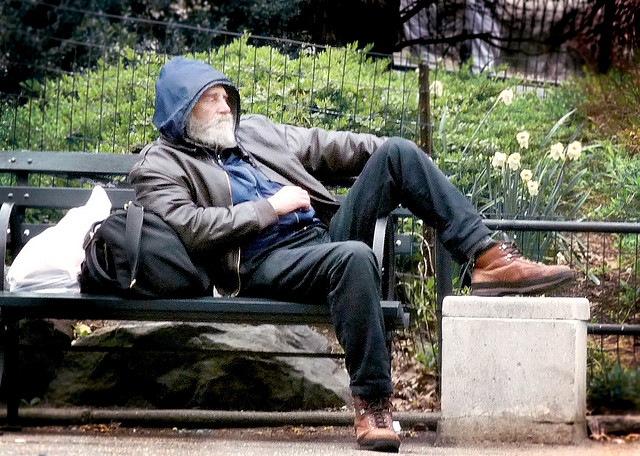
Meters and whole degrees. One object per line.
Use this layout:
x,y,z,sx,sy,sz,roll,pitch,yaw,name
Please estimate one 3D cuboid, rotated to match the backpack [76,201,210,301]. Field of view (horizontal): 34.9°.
-1.265,0.178,7.169,0.937,0.661,0.260,2,13,6,backpack
